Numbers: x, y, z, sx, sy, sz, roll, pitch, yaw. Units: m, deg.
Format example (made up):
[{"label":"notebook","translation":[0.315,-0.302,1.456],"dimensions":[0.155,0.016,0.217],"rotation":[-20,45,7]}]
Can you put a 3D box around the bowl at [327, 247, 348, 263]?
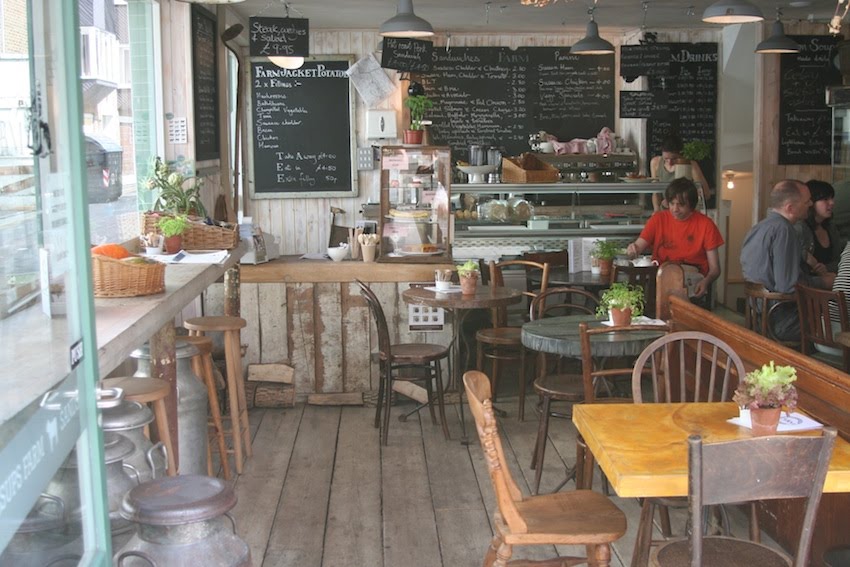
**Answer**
[{"label":"bowl","translation":[-0.706,-0.247,5.594],"dimensions":[0.168,0.118,0.179],"rotation":[0,12,0]}]

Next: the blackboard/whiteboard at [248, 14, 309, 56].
[{"label":"blackboard/whiteboard","translation":[-1.081,-1.827,5.126],"dimensions":[0.411,0.285,0.224],"rotation":[-3,12,-16]}]

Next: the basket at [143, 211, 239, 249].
[{"label":"basket","translation":[-1.407,-0.338,4.179],"dimensions":[0.395,0.151,0.247],"rotation":[0,11,-8]}]

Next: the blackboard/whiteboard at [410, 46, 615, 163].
[{"label":"blackboard/whiteboard","translation":[0.846,-1.895,7.255],"dimensions":[1.775,0.969,0.026],"rotation":[-1,3,-5]}]

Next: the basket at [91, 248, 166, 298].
[{"label":"basket","translation":[-1.244,-0.053,2.870],"dimensions":[0.213,0.111,0.256],"rotation":[0,6,-6]}]

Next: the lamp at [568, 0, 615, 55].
[{"label":"lamp","translation":[1.512,-2.269,6.201],"dimensions":[0.325,0.500,1.119],"rotation":[3,12,12]}]

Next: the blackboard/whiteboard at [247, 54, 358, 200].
[{"label":"blackboard/whiteboard","translation":[-1.282,-1.661,7.100],"dimensions":[1.571,1.902,0.071],"rotation":[-1,4,-5]}]

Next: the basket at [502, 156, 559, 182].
[{"label":"basket","translation":[0.940,-1.023,6.174],"dimensions":[0.489,0.239,0.651],"rotation":[2,11,7]}]

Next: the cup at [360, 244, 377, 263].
[{"label":"cup","translation":[-0.442,-0.243,5.474],"dimensions":[0.129,0.124,0.124],"rotation":[-1,8,0]}]

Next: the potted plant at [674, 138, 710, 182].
[{"label":"potted plant","translation":[2.906,-1.370,7.478],"dimensions":[0.283,0.389,0.407],"rotation":[3,-12,13]}]

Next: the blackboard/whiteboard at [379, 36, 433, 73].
[{"label":"blackboard/whiteboard","translation":[-0.147,-1.982,5.987],"dimensions":[0.159,0.283,0.536],"rotation":[12,17,44]}]

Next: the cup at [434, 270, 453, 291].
[{"label":"cup","translation":[0.128,-0.025,4.834],"dimensions":[0.146,0.142,0.127],"rotation":[-5,10,-26]}]

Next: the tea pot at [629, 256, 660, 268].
[{"label":"tea pot","translation":[1.761,-0.186,5.565],"dimensions":[0.137,0.086,0.226],"rotation":[1,6,10]}]

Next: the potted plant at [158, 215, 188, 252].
[{"label":"potted plant","translation":[-1.448,-0.285,4.008],"dimensions":[0.223,0.225,0.194],"rotation":[0,2,-4]}]

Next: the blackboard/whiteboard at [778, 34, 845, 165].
[{"label":"blackboard/whiteboard","translation":[3.941,-1.873,7.107],"dimensions":[0.695,1.285,0.269],"rotation":[-3,13,-12]}]

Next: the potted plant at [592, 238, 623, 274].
[{"label":"potted plant","translation":[1.401,-0.211,5.519],"dimensions":[0.313,0.304,0.252],"rotation":[1,2,-4]}]
